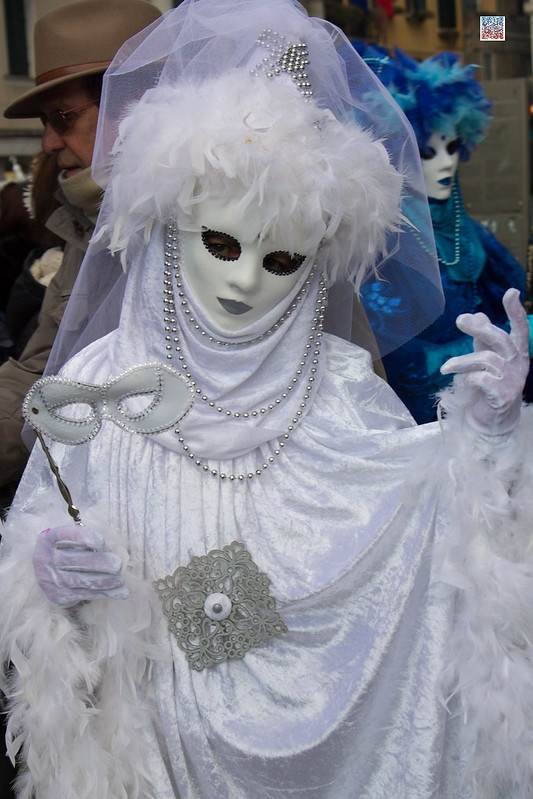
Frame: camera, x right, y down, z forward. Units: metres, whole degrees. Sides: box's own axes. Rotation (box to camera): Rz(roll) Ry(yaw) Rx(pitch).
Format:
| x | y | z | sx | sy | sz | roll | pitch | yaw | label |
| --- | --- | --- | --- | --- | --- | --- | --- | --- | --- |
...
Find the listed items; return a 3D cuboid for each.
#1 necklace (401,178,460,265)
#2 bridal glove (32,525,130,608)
| x | y | z | sx | sy | sz | roll | pitch | yaw | label |
| --- | --- | --- | --- | --- | --- | --- | --- | --- | --- |
| 0.623 | -0.613 | 3.014 | 0.185 | 0.298 | 0.120 | -15 | 29 | -22 | necklace |
| -0.309 | 0.276 | 1.439 | 0.194 | 0.148 | 0.050 | 9 | 6 | 16 | bridal glove |
